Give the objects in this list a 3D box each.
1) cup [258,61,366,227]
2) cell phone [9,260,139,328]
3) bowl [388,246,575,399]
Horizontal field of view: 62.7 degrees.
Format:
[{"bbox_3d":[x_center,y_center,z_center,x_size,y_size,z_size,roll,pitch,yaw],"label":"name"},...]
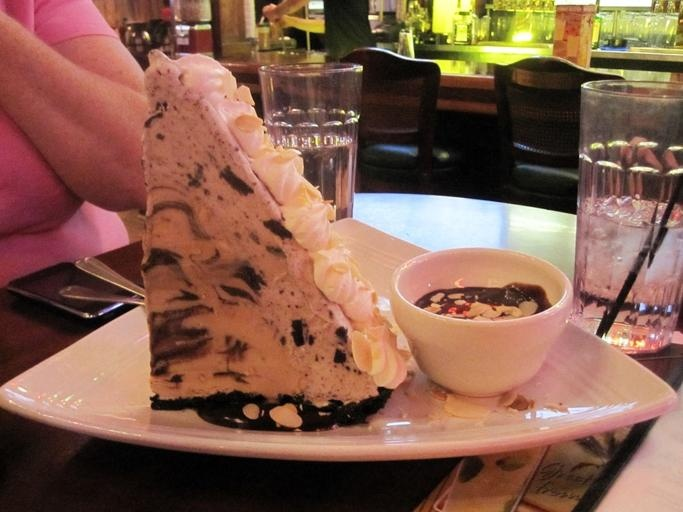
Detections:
[{"bbox_3d":[-0.068,-0.185,0.962,0.183,0.252,0.167,-4,6,0],"label":"cup"},{"bbox_3d":[-0.330,0.050,0.694,0.117,0.011,0.070,27,41,33],"label":"cell phone"},{"bbox_3d":[0.142,0.067,0.567,0.174,0.097,0.166,-4,25,2],"label":"bowl"}]
